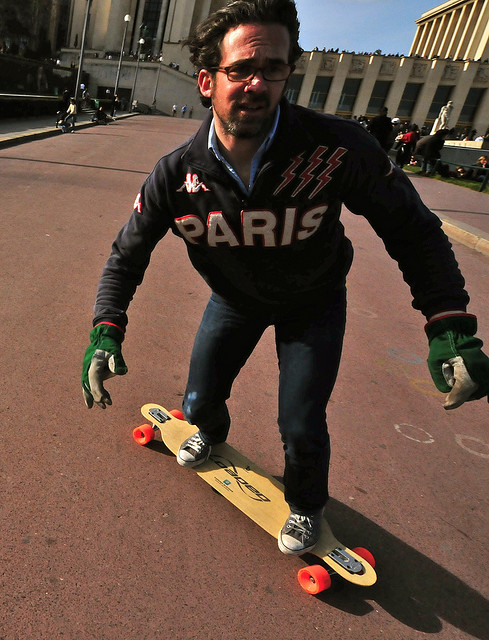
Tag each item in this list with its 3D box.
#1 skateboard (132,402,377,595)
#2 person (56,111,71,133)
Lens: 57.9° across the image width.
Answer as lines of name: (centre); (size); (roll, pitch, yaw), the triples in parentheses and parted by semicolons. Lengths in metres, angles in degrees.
skateboard: (-0.140, 0.739, 2.163); (1.631, 0.182, 0.424); (28, 33, 36)
person: (-7.513, -8.137, 18.235); (0.475, 0.734, 0.753); (5, 22, -23)
